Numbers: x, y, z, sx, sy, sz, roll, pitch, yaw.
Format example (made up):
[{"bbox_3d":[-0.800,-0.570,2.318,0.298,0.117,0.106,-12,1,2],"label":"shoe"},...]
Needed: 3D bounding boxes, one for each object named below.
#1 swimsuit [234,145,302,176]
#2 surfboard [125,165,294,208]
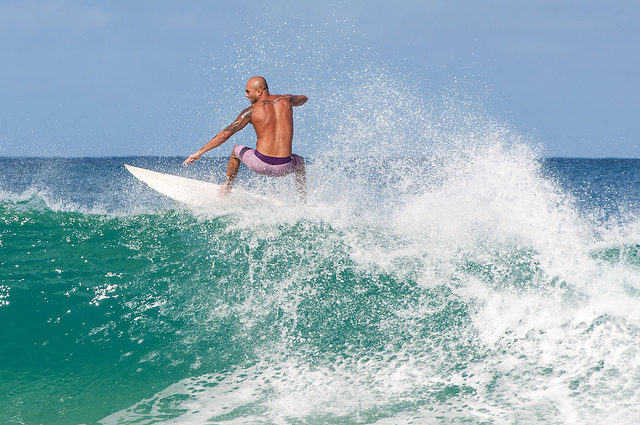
[{"bbox_3d":[-1.065,-1.004,15.498,1.347,0.690,0.482,8,76,5],"label":"swimsuit"},{"bbox_3d":[-2.562,-0.584,17.941,3.758,0.297,0.660,18,47,12],"label":"surfboard"}]
